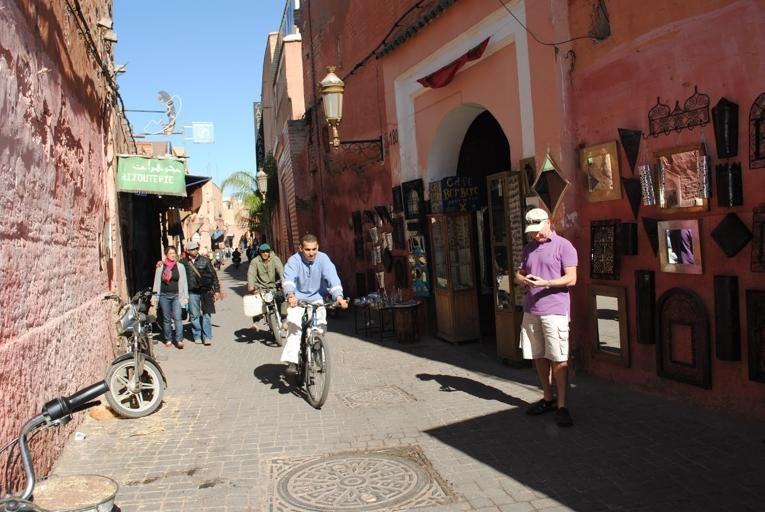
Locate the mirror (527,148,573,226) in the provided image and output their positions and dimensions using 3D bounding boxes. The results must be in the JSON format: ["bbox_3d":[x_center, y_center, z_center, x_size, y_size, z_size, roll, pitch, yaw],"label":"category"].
[{"bbox_3d":[2.439,-0.993,8.314,0.093,1.334,1.111,-3,6,-21],"label":"mirror"}]

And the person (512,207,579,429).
[{"bbox_3d":[2.049,0.673,7.235,0.692,2.523,1.025,-1,4,16],"label":"person"}]

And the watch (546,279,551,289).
[{"bbox_3d":[1.998,0.348,6.952,0.055,0.085,0.087,-3,-3,7],"label":"watch"}]

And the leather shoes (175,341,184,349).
[{"bbox_3d":[-4.308,1.866,12.376,0.156,0.143,0.300,-4,5,-22],"label":"leather shoes"}]

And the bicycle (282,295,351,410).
[{"bbox_3d":[-0.978,1.320,8.233,0.479,1.405,1.394,-4,5,-21],"label":"bicycle"}]

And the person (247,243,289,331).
[{"bbox_3d":[-2.488,0.389,12.587,0.931,1.182,1.723,1,-3,-9],"label":"person"}]

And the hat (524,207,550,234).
[{"bbox_3d":[1.908,-0.430,7.136,0.254,0.209,0.377,-13,13,31],"label":"hat"}]

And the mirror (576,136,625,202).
[{"bbox_3d":[2.995,-1.189,7.867,0.097,1.029,0.827,-10,0,-31],"label":"mirror"}]

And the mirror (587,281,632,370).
[{"bbox_3d":[3.110,0.920,7.910,0.056,1.056,0.584,-5,5,-31],"label":"mirror"}]

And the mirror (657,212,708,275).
[{"bbox_3d":[3.631,-0.155,6.954,0.065,0.860,0.636,0,-6,-28],"label":"mirror"}]

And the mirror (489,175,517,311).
[{"bbox_3d":[1.978,-0.243,9.736,0.203,2.264,0.847,-3,4,-9],"label":"mirror"}]

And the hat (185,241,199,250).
[{"bbox_3d":[-4.133,-0.236,12.622,0.253,0.190,0.420,-5,5,-24],"label":"hat"}]

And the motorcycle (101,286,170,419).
[{"bbox_3d":[-3.620,1.354,8.512,0.784,1.526,1.879,-4,5,-21],"label":"motorcycle"}]

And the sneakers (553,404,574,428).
[{"bbox_3d":[2.161,1.883,6.835,0.117,0.127,0.308,-4,-3,3],"label":"sneakers"}]

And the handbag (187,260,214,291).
[{"bbox_3d":[-3.986,0.434,12.650,0.403,0.561,0.309,-24,4,-31],"label":"handbag"}]

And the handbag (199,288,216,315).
[{"bbox_3d":[-3.843,0.987,12.906,0.404,0.759,0.445,-2,4,-8],"label":"handbag"}]

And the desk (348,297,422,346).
[{"bbox_3d":[-0.007,1.238,13.016,1.266,0.967,3.292,-4,5,-13],"label":"desk"}]

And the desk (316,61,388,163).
[{"bbox_3d":[-0.597,-2.700,11.401,1.145,1.925,0.545,-4,6,-20],"label":"desk"}]

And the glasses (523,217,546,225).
[{"bbox_3d":[1.883,-0.422,7.078,0.222,0.077,0.161,-1,5,17],"label":"glasses"}]

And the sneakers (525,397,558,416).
[{"bbox_3d":[1.999,1.859,7.282,0.416,0.187,0.166,-4,0,-16],"label":"sneakers"}]

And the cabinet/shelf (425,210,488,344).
[{"bbox_3d":[1.422,0.313,11.523,0.633,2.558,0.984,-6,2,-10],"label":"cabinet/shelf"}]

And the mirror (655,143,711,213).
[{"bbox_3d":[3.618,-0.934,6.917,0.050,0.863,0.719,-6,11,-30],"label":"mirror"}]
